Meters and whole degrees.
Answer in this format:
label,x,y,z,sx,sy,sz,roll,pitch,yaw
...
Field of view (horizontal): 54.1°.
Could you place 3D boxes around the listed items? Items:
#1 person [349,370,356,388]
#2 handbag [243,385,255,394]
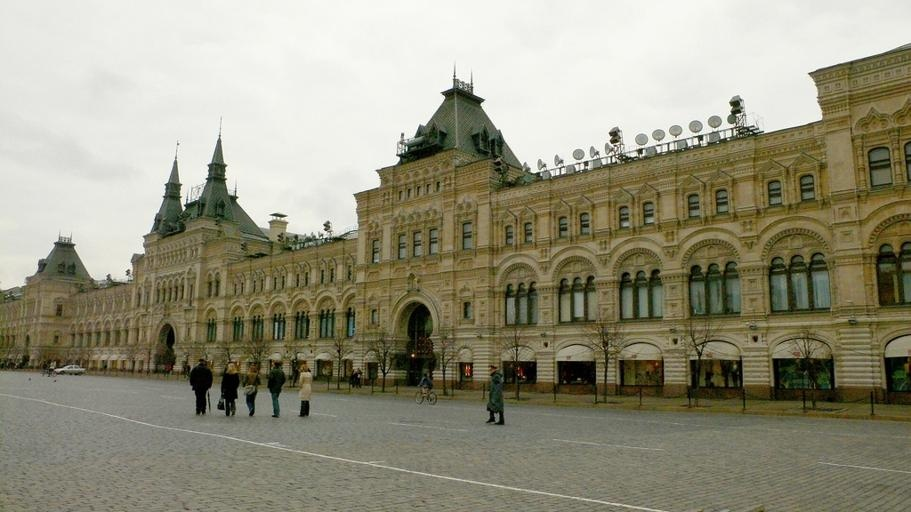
label,x,y,z,sx,sy,sz,roll,pitch,yaw
person,-10.453,12.401,90.227,0.609,1.670,1.072,7,-14,-24
handbag,-13.484,8.654,58.021,0.657,0.555,0.485,0,-15,41
